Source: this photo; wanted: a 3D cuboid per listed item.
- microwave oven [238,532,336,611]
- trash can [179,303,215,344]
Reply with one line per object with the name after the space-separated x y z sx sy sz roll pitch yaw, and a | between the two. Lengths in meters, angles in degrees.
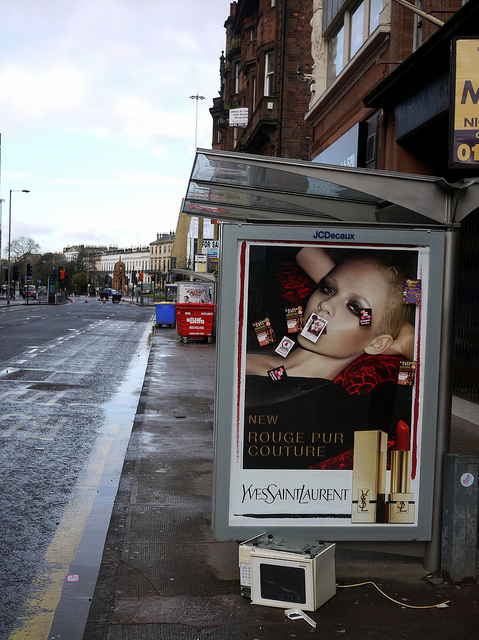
0.301 1.427 3.911 0.459 0.340 0.338 -1 0 27 | microwave oven
-1.656 0.039 26.779 1.489 1.608 1.298 1 1 4 | trash can
